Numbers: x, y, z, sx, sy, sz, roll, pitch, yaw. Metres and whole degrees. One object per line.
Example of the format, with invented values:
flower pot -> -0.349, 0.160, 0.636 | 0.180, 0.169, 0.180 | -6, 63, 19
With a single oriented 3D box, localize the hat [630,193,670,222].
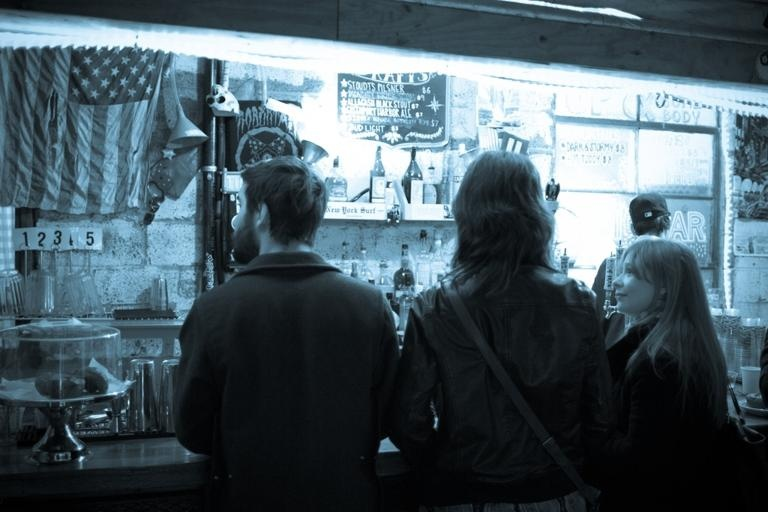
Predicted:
hat -> 1.760, -0.332, 6.784 | 0.256, 0.182, 0.414 | -9, 2, 22

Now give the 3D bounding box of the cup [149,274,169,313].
cup -> -1.575, 0.262, 7.101 | 0.121, 0.207, 0.210 | -1, 2, -14

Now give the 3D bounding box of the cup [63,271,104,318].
cup -> -1.960, 0.245, 6.557 | 0.157, 0.276, 0.251 | 1, 2, 23

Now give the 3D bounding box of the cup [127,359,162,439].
cup -> -1.295, 0.747, 5.446 | 0.159, 0.385, 0.160 | 0, 2, 0

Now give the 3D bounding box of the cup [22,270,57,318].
cup -> -2.070, 0.221, 6.077 | 0.179, 0.244, 0.081 | -1, 2, -17

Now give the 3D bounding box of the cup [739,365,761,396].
cup -> 2.101, 0.710, 5.789 | 0.163, 0.156, 0.150 | 3, -7, 0
